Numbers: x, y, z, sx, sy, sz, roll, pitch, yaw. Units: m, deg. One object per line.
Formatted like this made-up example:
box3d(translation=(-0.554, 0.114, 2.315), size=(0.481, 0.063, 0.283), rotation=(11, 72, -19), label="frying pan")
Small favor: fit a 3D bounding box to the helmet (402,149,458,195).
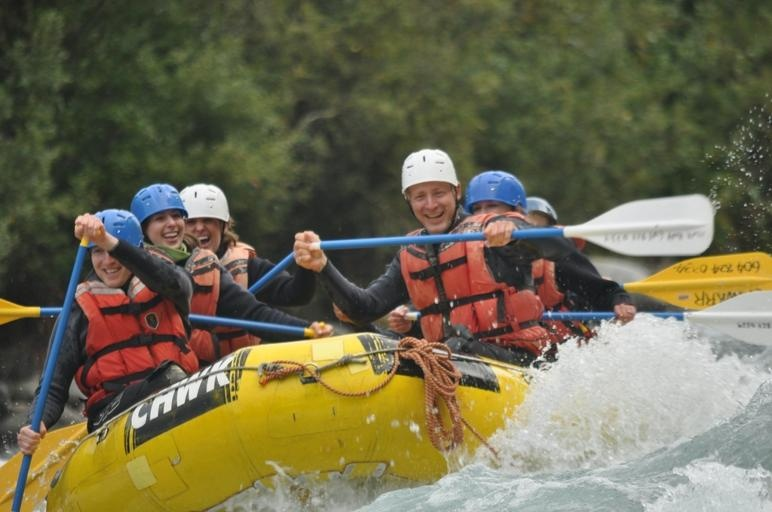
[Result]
box3d(translation=(0.371, -0.787, 11.439), size=(0.354, 0.421, 0.317), rotation=(-2, 21, 4), label="helmet")
